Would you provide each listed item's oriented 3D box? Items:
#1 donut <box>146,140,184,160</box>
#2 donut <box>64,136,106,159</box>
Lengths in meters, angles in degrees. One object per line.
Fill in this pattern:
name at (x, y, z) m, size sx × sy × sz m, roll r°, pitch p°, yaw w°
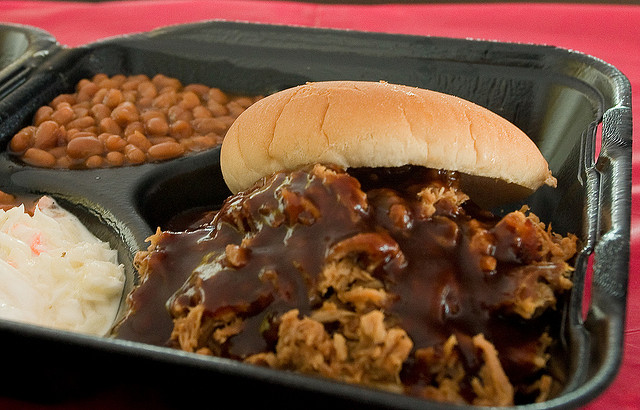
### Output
donut at (-0.770, -0.267, 3.030) m, size 0.168 × 0.081 × 0.087 m, roll -8°, pitch 82°, yaw -7°
donut at (-1.184, -0.283, 3.003) m, size 0.219 × 0.085 × 0.098 m, roll 7°, pitch 44°, yaw 1°
